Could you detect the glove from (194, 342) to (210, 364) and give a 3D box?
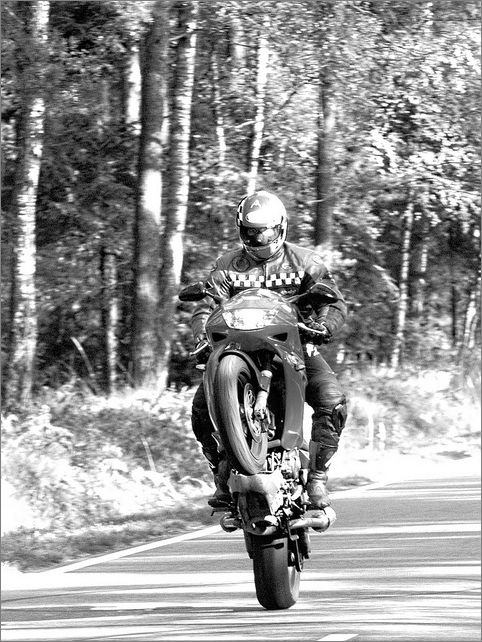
[{"bbox_3d":[-0.180,0.149,5.265,0.053,0.103,0.081,11,31,33],"label":"glove"}]

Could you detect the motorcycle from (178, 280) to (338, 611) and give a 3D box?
[{"bbox_3d":[0.118,0.655,5.067,0.669,1.656,1.051,-1,36,14],"label":"motorcycle"}]

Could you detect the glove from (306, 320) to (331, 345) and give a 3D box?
[{"bbox_3d":[0.394,0.058,5.275,0.097,0.112,0.051,-15,21,50],"label":"glove"}]

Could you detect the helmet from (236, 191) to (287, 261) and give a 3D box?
[{"bbox_3d":[0.119,-0.512,5.572,0.271,0.310,0.334,4,31,23],"label":"helmet"}]
